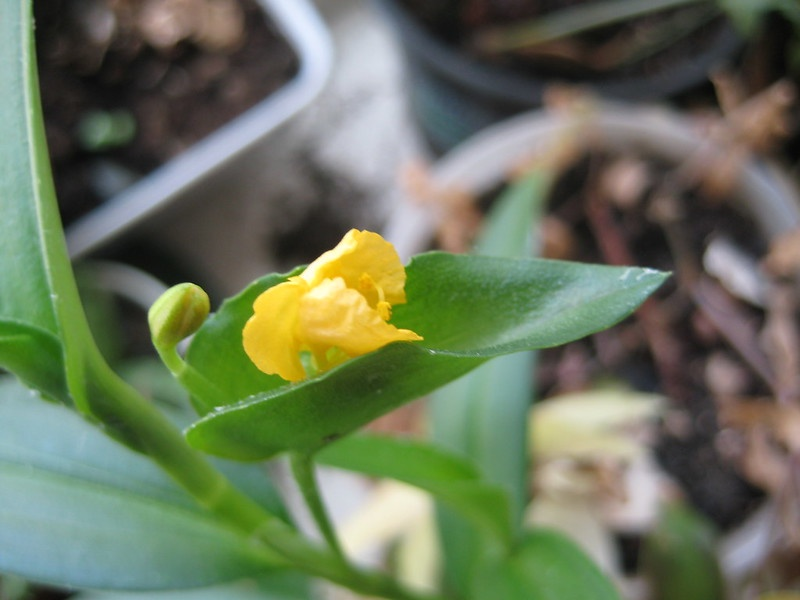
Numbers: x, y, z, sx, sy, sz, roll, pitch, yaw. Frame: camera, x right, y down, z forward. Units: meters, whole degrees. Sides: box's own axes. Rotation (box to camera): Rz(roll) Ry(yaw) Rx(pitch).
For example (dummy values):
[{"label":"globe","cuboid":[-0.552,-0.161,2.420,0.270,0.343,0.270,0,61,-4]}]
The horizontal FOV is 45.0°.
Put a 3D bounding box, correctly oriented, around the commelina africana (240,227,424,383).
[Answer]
[{"label":"commelina africana","cuboid":[-0.031,0.006,0.619,0.092,0.066,0.101,-5,51,39]}]
